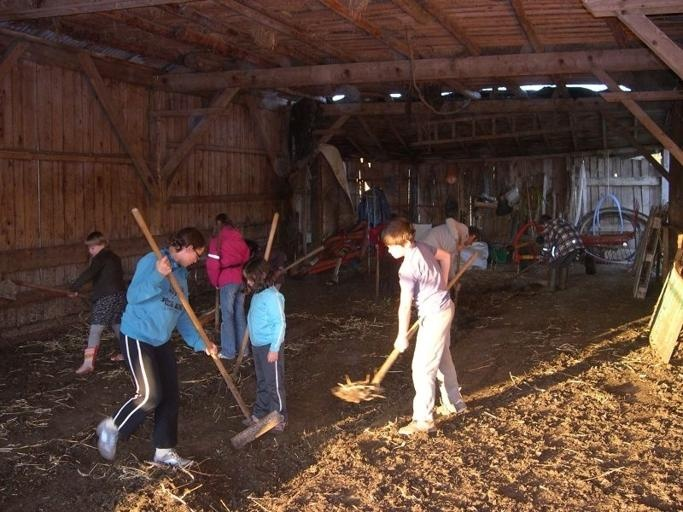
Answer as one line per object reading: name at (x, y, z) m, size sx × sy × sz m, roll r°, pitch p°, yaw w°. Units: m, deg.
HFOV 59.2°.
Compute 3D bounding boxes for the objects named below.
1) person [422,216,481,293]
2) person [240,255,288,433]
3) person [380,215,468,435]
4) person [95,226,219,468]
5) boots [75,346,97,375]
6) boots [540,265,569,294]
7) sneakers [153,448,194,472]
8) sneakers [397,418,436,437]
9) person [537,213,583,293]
person at (1.517, 0.111, 7.608) m, size 0.580 × 0.407 × 1.033 m, roll -2°, pitch 40°, yaw 14°
person at (-0.728, 0.853, 5.813) m, size 0.365 × 1.674 × 0.518 m, roll -3°, pitch 12°, yaw -12°
person at (0.822, 0.647, 5.843) m, size 0.619 × 2.047 × 0.726 m, roll 6°, pitch 13°, yaw 29°
person at (-1.583, 0.800, 5.342) m, size 0.954 × 2.120 × 0.803 m, roll 5°, pitch -7°, yaw -37°
boots at (-3.041, 1.221, 7.150) m, size 0.245 × 0.301 × 0.178 m, roll -7°, pitch 14°, yaw -28°
boots at (4.152, 0.415, 11.591) m, size 0.485 × 0.696 × 0.475 m, roll 3°, pitch 5°, yaw 20°
sneakers at (-1.503, 1.802, 5.367) m, size 0.396 × 0.195 × 0.155 m, roll 6°, pitch 1°, yaw -12°
sneakers at (0.726, 1.667, 5.866) m, size 0.396 × 0.180 × 0.144 m, roll 2°, pitch -10°, yaw -1°
person at (4.265, -0.088, 11.751) m, size 0.622 × 1.280 × 1.505 m, roll 3°, pitch 13°, yaw 15°
